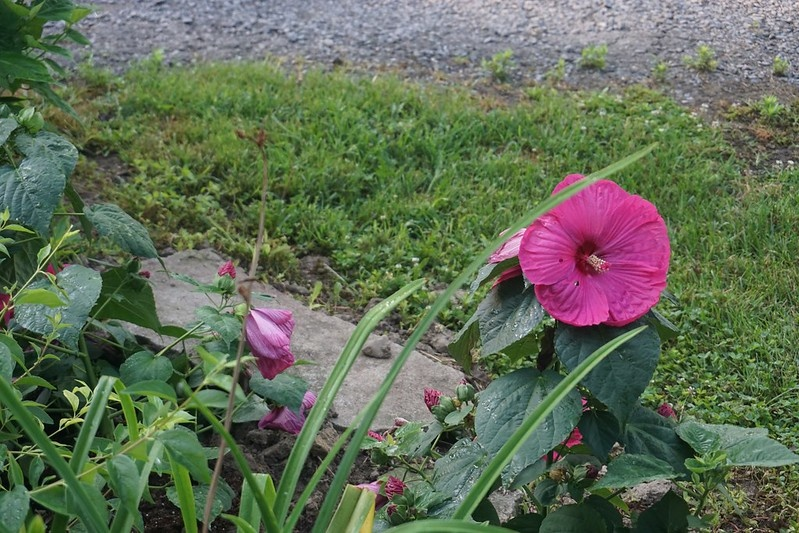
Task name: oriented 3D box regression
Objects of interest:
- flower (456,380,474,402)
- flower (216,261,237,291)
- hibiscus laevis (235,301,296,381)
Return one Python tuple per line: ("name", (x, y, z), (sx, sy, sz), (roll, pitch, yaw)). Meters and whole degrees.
("flower", (0.225, 0.440, 3.117), (0.062, 0.070, 0.056), (8, 11, 26))
("flower", (-0.643, 0.025, 3.184), (0.070, 0.113, 0.180), (3, 24, -13))
("hibiscus laevis", (-0.490, 0.275, 3.241), (0.171, 0.259, 0.281), (3, 24, -12))
